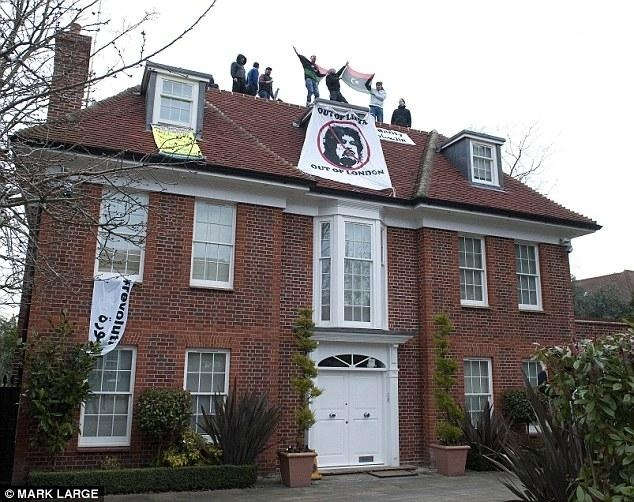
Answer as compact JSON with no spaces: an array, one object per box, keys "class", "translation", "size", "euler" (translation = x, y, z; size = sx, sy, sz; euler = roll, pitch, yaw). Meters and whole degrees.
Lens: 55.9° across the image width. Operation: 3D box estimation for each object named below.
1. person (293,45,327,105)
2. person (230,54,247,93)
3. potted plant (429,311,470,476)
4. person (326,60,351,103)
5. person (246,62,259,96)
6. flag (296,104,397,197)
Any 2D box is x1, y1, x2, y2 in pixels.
[{"class":"person","translation":[-0.263,-6.355,22.524],"size":[0.856,2.441,1.274],"euler":[-7,-17,21]},{"class":"person","translation":[-2.718,-6.061,20.759],"size":[0.531,1.914,1.017],"euler":[2,-16,-9]},{"class":"potted plant","translation":[3.629,3.993,15.885],"size":[0.973,3.703,1.112],"euler":[-10,-17,24]},{"class":"person","translation":[0.804,-6.032,22.483],"size":[0.857,2.404,0.488],"euler":[-4,-19,-8]},{"class":"person","translation":[-2.310,-6.058,21.434],"size":[0.447,1.492,0.714],"euler":[1,-16,-7]},{"class":"flag","translation":[0.940,-3.225,17.863],"size":[2.641,3.260,0.383],"euler":[10,-37,-9]}]
